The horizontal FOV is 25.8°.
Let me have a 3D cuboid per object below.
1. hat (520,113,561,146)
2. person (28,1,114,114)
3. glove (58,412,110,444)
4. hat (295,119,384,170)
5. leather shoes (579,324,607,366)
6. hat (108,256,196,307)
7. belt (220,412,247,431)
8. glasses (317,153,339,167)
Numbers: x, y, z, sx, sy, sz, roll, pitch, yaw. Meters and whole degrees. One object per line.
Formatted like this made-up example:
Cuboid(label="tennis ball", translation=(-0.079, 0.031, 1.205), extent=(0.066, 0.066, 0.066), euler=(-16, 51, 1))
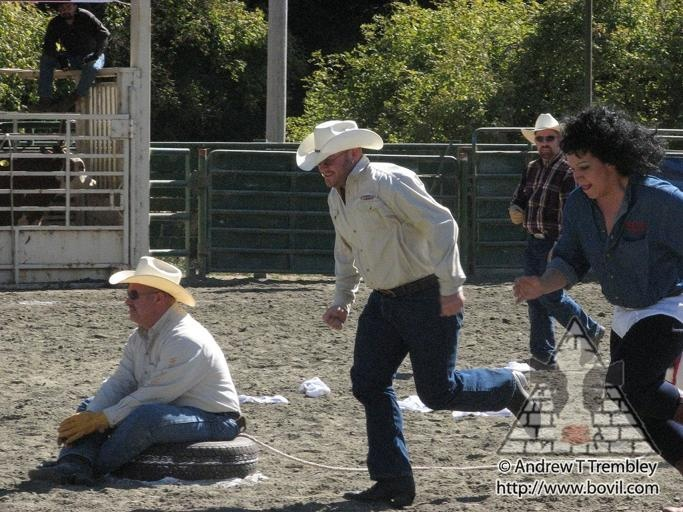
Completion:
Cuboid(label="hat", translation=(2.505, -1.611, 18.402), extent=(0.587, 0.228, 0.632), euler=(-6, -12, 13))
Cuboid(label="person", translation=(-4.035, -3.009, 22.440), extent=(1.038, 1.657, 0.789), euler=(0, 2, -11))
Cuboid(label="glove", translation=(-2.524, 1.721, 14.732), extent=(0.389, 0.167, 0.184), euler=(-6, -4, 6))
Cuboid(label="hat", translation=(0.010, -1.139, 14.630), extent=(0.694, 0.295, 0.572), euler=(-23, 8, -26))
Cuboid(label="leather shoes", translation=(2.788, 0.995, 16.383), extent=(0.210, 0.247, 0.665), euler=(-17, 12, 34))
Cuboid(label="hat", translation=(-1.836, 0.363, 14.954), extent=(0.701, 0.258, 0.576), euler=(23, -8, -24))
Cuboid(label="belt", translation=(-1.075, 1.668, 15.011), extent=(0.237, 0.158, 0.083), euler=(12, 22, -4))
Cuboid(label="glasses", translation=(-0.095, -0.937, 14.504), extent=(0.243, 0.144, 0.105), euler=(1, 2, 5))
